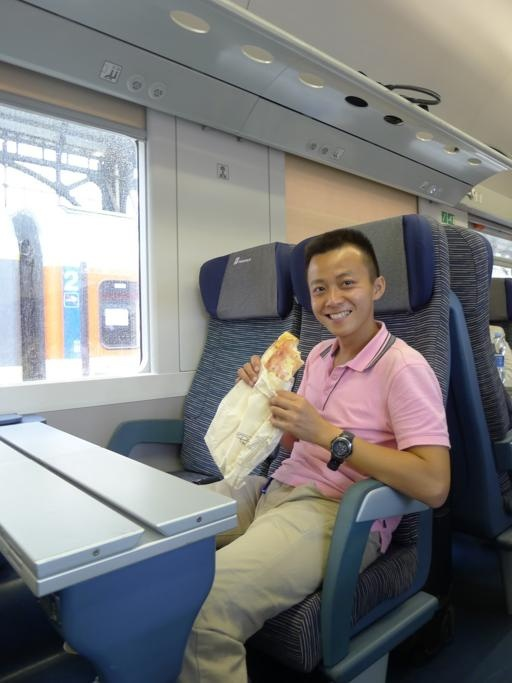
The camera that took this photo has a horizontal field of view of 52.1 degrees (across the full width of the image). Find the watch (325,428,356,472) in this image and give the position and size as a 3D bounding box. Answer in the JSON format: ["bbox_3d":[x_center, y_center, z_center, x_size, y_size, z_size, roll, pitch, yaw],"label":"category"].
[{"bbox_3d":[0.160,0.231,1.123,0.056,0.087,0.079,33,-16,10],"label":"watch"}]

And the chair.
[{"bbox_3d":[0.000,0.233,1.513,0.932,1.060,0.757,4,-8,-41],"label":"chair"}]
